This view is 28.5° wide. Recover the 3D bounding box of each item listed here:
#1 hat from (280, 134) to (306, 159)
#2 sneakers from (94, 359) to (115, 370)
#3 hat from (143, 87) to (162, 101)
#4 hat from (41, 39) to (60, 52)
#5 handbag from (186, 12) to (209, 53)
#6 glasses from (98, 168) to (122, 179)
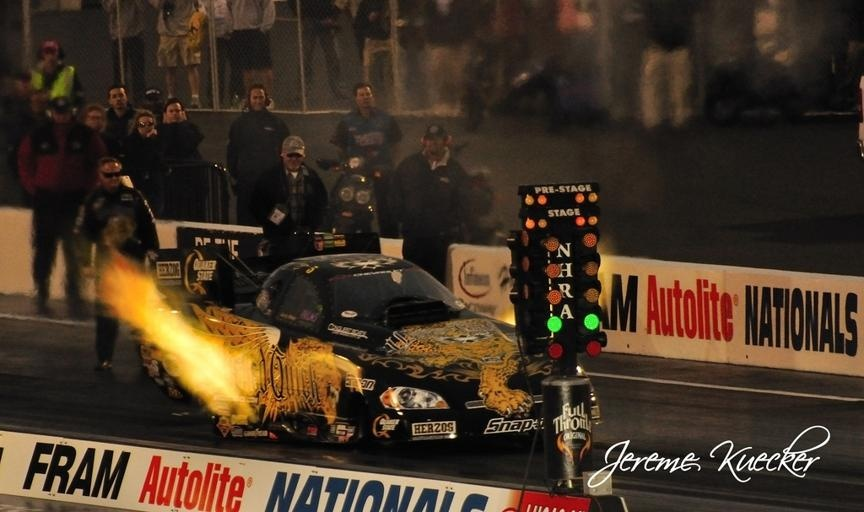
[{"bbox_3d":[-2.524,-2.004,31.270,0.451,0.310,0.647,2,0,-12],"label":"hat"},{"bbox_3d":[-5.614,1.843,29.386,0.098,0.160,0.284,-31,18,-29],"label":"sneakers"},{"bbox_3d":[-5.860,-3.411,35.976,0.317,0.235,0.334,-1,-6,-30],"label":"hat"},{"bbox_3d":[-7.943,-4.346,35.580,0.366,0.208,0.258,-3,9,-12],"label":"hat"},{"bbox_3d":[-5.058,-4.865,37.085,0.519,0.734,0.298,10,0,28],"label":"handbag"},{"bbox_3d":[-5.464,-1.402,29.151,0.352,0.126,0.207,-3,9,-12],"label":"glasses"}]
